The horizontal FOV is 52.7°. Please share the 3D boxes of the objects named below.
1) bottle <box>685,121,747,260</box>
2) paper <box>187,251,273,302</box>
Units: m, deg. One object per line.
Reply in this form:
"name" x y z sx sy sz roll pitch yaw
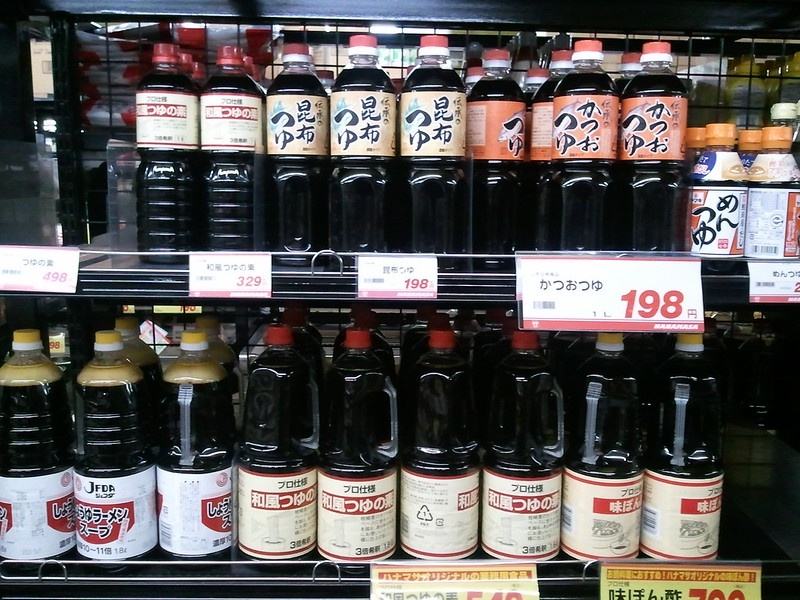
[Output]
"bottle" 0.806 -0.279 2.035 0.137 0.337 0.112 0 8 20
"paper" -0.398 -0.059 1.912 0.264 0.108 0.116 0 -2 -2
